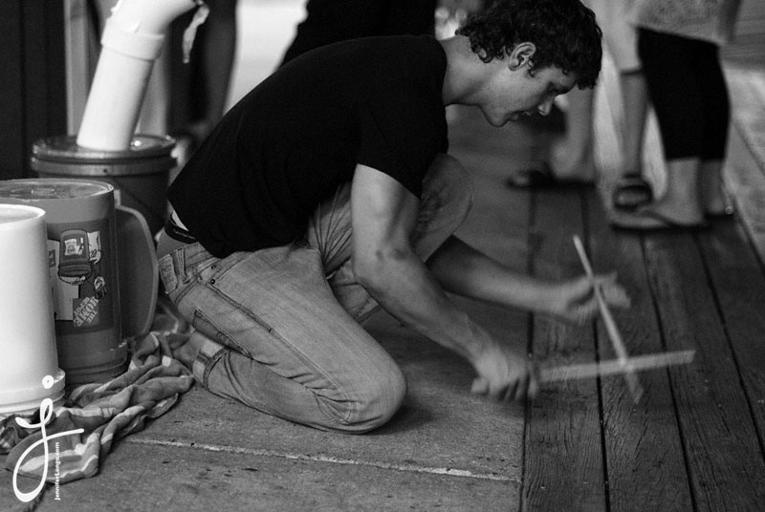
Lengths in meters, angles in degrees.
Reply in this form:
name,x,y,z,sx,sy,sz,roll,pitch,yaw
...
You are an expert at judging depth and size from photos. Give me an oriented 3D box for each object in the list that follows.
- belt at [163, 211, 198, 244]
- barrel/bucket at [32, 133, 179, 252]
name,x,y,z,sx,sy,sz,roll,pitch,yaw
belt,-0.665,-0.091,2.487,0.051,0.093,0.123,-41,56,1
barrel/bucket,-1.069,-0.241,3.130,0.512,0.499,0.509,1,8,0
